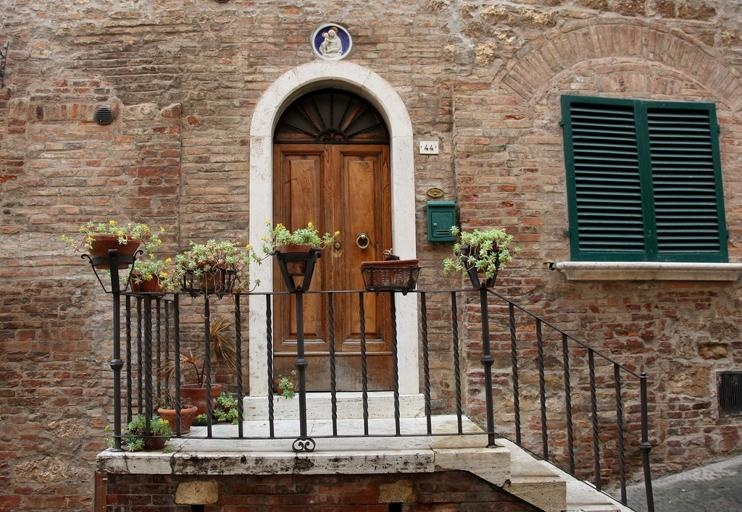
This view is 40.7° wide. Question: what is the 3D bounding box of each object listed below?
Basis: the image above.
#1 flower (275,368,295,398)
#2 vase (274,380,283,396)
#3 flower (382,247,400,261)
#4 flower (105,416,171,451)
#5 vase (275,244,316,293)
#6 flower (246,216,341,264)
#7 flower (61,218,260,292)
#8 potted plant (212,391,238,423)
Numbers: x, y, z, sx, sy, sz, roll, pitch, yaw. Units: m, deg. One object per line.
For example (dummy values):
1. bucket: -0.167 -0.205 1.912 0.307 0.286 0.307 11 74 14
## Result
1. flower: -0.870 1.326 10.298 0.217 0.280 0.199 -3 -4 -6
2. vase: -0.965 1.358 10.355 0.132 0.123 0.122 0 -1 -11
3. flower: 0.197 -0.007 10.213 0.108 0.139 0.168 10 -15 -42
4. flower: -2.046 1.605 8.935 0.415 0.249 0.375 -4 -11 18
5. vase: -0.695 0.135 9.234 0.447 0.301 0.440 9 -15 -43
6. flower: -0.804 -0.136 9.408 0.489 0.241 0.689 3 -8 -35
7. flower: -1.986 0.057 9.605 1.338 0.410 1.063 -1 -2 10
8. potted plant: -1.470 1.529 10.077 0.242 0.305 0.224 -3 -4 -9
